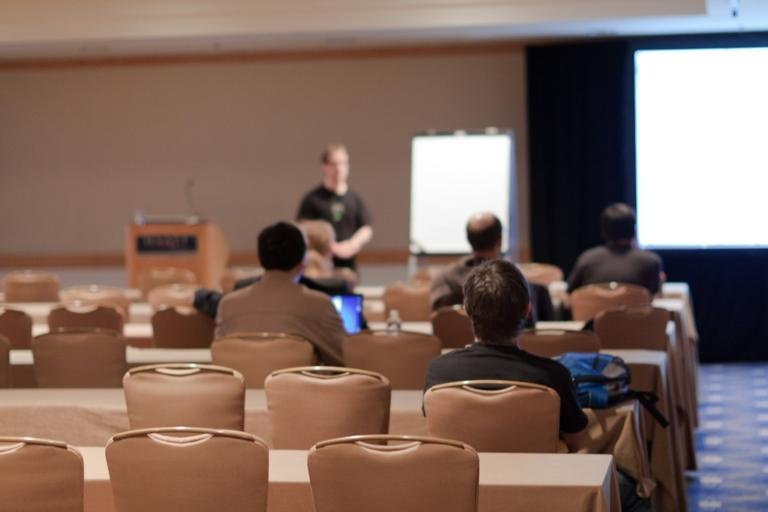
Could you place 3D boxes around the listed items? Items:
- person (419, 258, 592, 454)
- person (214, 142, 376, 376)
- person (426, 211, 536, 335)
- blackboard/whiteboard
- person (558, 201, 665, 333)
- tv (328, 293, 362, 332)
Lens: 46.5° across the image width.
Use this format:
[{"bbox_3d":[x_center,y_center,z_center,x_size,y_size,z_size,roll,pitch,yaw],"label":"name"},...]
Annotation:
[{"bbox_3d":[0.585,0.573,4.468,0.782,1.145,0.710,-1,7,12],"label":"person"},{"bbox_3d":[-0.801,-0.248,6.648,0.933,2.049,0.838,-1,-4,-8],"label":"person"},{"bbox_3d":[0.668,0.118,5.655,0.735,0.765,0.406,-1,18,44],"label":"person"},{"bbox_3d":[0.642,-0.478,7.281,1.000,1.196,0.083,-2,-6,27],"label":"blackboard/whiteboard"},{"bbox_3d":[1.701,0.340,6.663,0.693,1.377,0.580,1,9,1],"label":"person"},{"bbox_3d":[-0.228,0.346,5.211,0.190,0.272,0.028,3,-13,-24],"label":"tv"}]
